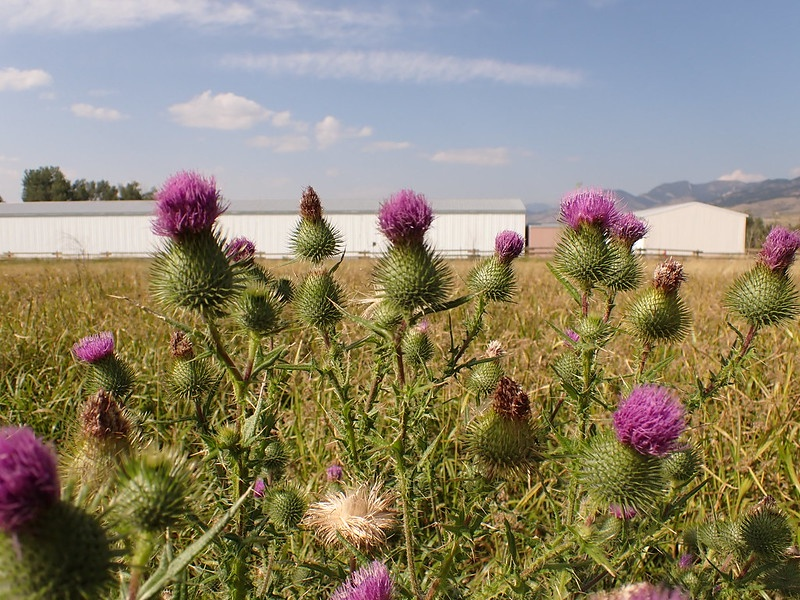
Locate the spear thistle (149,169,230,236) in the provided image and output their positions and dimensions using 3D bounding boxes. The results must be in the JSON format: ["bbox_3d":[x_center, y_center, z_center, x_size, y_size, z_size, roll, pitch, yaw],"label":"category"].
[{"bbox_3d":[-1.383,-0.565,4.748,0.437,0.539,0.469,-8,-23,-24],"label":"spear thistle"}]

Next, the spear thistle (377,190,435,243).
[{"bbox_3d":[0.032,-0.530,4.765,0.353,0.347,0.194,-1,8,-4],"label":"spear thistle"}]

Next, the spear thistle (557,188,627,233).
[{"bbox_3d":[1.422,-0.670,5.466,0.480,0.307,0.269,1,8,4],"label":"spear thistle"}]

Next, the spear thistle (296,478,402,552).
[{"bbox_3d":[-0.295,1.425,4.852,0.598,0.424,0.561,-5,10,-30],"label":"spear thistle"}]
